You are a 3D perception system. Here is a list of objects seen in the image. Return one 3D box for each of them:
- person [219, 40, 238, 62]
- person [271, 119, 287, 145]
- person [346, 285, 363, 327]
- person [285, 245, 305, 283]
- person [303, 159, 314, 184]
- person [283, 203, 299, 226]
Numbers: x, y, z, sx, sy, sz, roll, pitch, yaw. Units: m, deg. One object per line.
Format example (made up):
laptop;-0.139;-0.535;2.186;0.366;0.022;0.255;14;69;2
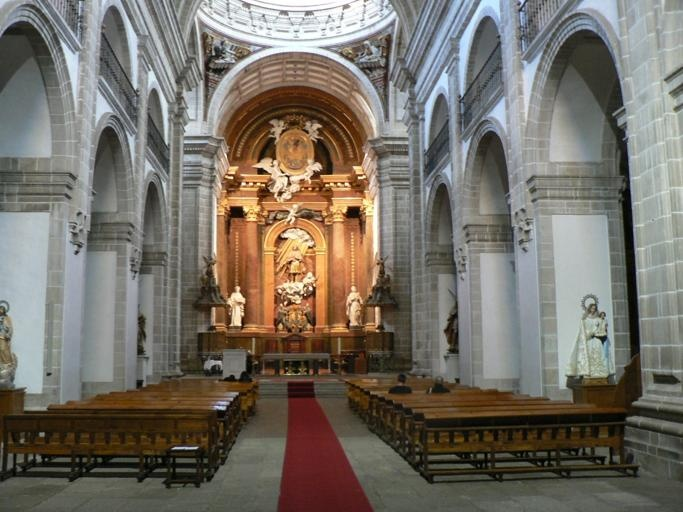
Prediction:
person;-4.559;-8.167;27.894;0.699;0.665;0.190;-8;14;-23
person;-2.954;-5.820;32.339;0.806;1.023;0.452;-2;8;-5
person;0.529;2.272;30.525;0.745;1.696;0.811;-1;8;1
person;-2.114;0.388;32.007;0.539;1.468;0.805;5;10;39
person;-1.524;-3.902;32.085;0.457;0.978;0.299;-2;8;-4
person;-2.287;-1.892;32.218;0.664;0.974;0.331;-2;8;-6
